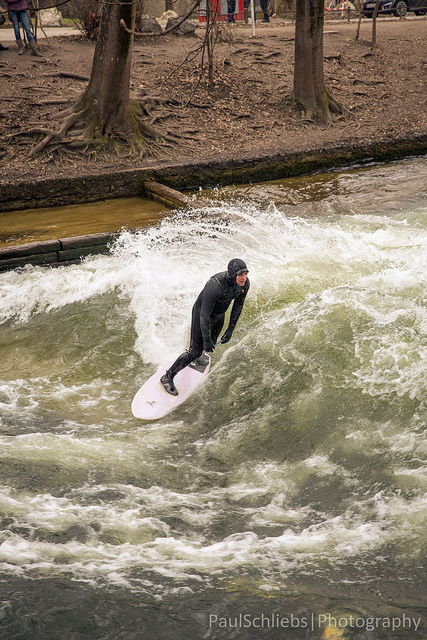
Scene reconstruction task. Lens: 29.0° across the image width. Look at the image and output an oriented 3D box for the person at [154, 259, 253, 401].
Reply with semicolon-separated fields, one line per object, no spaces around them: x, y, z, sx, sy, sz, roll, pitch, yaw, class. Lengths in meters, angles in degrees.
-0.117;0.187;9.205;0.737;2.067;0.618;39;41;9;person
